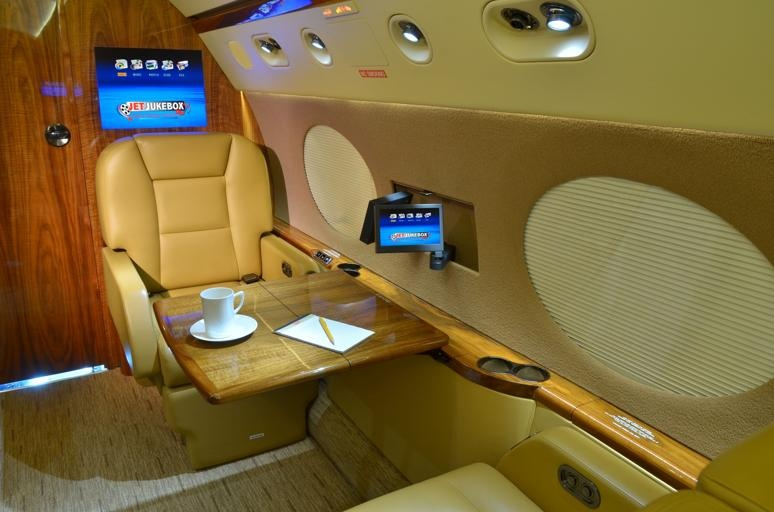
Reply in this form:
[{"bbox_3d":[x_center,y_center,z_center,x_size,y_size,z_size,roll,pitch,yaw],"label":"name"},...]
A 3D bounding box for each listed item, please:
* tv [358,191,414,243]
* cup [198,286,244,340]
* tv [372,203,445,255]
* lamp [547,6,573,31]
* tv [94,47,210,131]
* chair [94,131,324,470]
[{"bbox_3d":[0.005,-0.180,2.169,0.077,0.223,0.258,36,46,20],"label":"tv"},{"bbox_3d":[-0.636,0.207,1.797,0.136,0.157,0.123,-16,31,-30],"label":"cup"},{"bbox_3d":[0.101,-0.123,2.074,0.261,0.172,0.026,0,9,-3],"label":"tv"},{"bbox_3d":[0.506,-0.681,1.356,0.071,0.060,0.112,14,29,25],"label":"lamp"},{"bbox_3d":[-1.535,-1.084,3.002,0.620,0.409,0.010,-9,23,-34],"label":"tv"},{"bbox_3d":[-1.019,0.153,2.767,1.147,1.469,1.316,-6,25,-34],"label":"chair"}]
